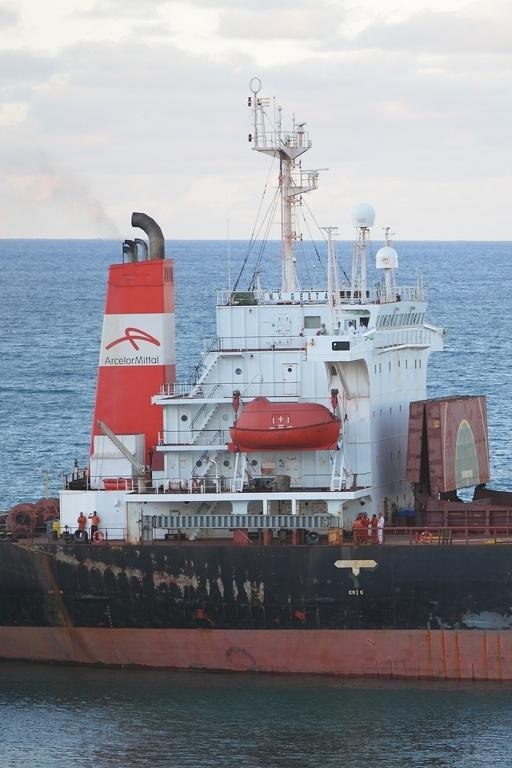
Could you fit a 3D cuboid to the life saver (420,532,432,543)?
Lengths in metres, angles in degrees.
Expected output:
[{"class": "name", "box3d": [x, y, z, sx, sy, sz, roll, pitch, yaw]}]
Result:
[{"class": "life saver", "box3d": [4.118, 3.814, 49.129, 0.303, 0.269, 0.373, -1, 9, 11]}]

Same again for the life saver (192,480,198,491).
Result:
[{"class": "life saver", "box3d": [-1.626, 2.699, 51.776, 0.204, 0.287, 0.212, 2, 1, 8]}]

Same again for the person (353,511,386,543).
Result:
[{"class": "person", "box3d": [2.773, 3.678, 49.855, 0.654, 0.592, 0.739, -1, 11, 5]}]

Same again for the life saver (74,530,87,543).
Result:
[{"class": "life saver", "box3d": [-4.557, 3.961, 51.376, 0.334, 0.309, 0.197, -3, 9, -1]}]

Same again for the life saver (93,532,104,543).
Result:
[{"class": "life saver", "box3d": [-4.164, 4.044, 52.204, 0.249, 0.275, 0.084, 6, -11, -34]}]
